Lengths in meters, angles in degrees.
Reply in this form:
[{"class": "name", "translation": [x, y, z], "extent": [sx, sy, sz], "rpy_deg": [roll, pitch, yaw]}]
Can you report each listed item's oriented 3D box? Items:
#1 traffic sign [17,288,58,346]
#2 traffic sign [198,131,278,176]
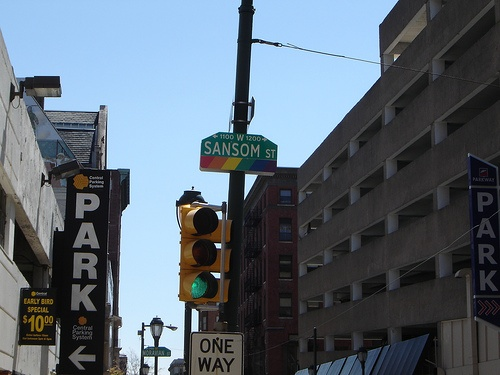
[{"class": "traffic sign", "translation": [-7.686, 4.652, 35.818], "extent": [1.748, 3.208, 0.322], "rpy_deg": [4, -26, -16]}, {"class": "traffic sign", "translation": [-0.324, -0.899, 28.071], "extent": [2.125, 1.252, 0.644], "rpy_deg": [3, -22, -3]}]
